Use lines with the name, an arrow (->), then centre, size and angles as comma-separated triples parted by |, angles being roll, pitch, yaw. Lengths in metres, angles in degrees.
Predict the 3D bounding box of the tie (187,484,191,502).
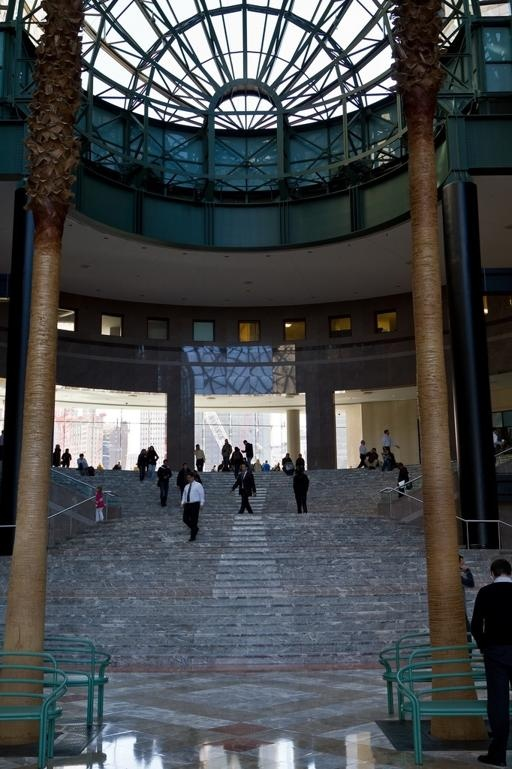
tie -> -1.550, 2.537, 15.013 | 0.071, 0.417, 0.232 | 3, -9, -28

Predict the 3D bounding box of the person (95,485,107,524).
person -> -4.411, 3.413, 18.351 | 0.280, 1.004, 0.570 | 1, -8, -14

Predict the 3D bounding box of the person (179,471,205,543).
person -> -1.527, 2.907, 15.538 | 0.471, 1.572, 1.608 | 0, -8, -7
